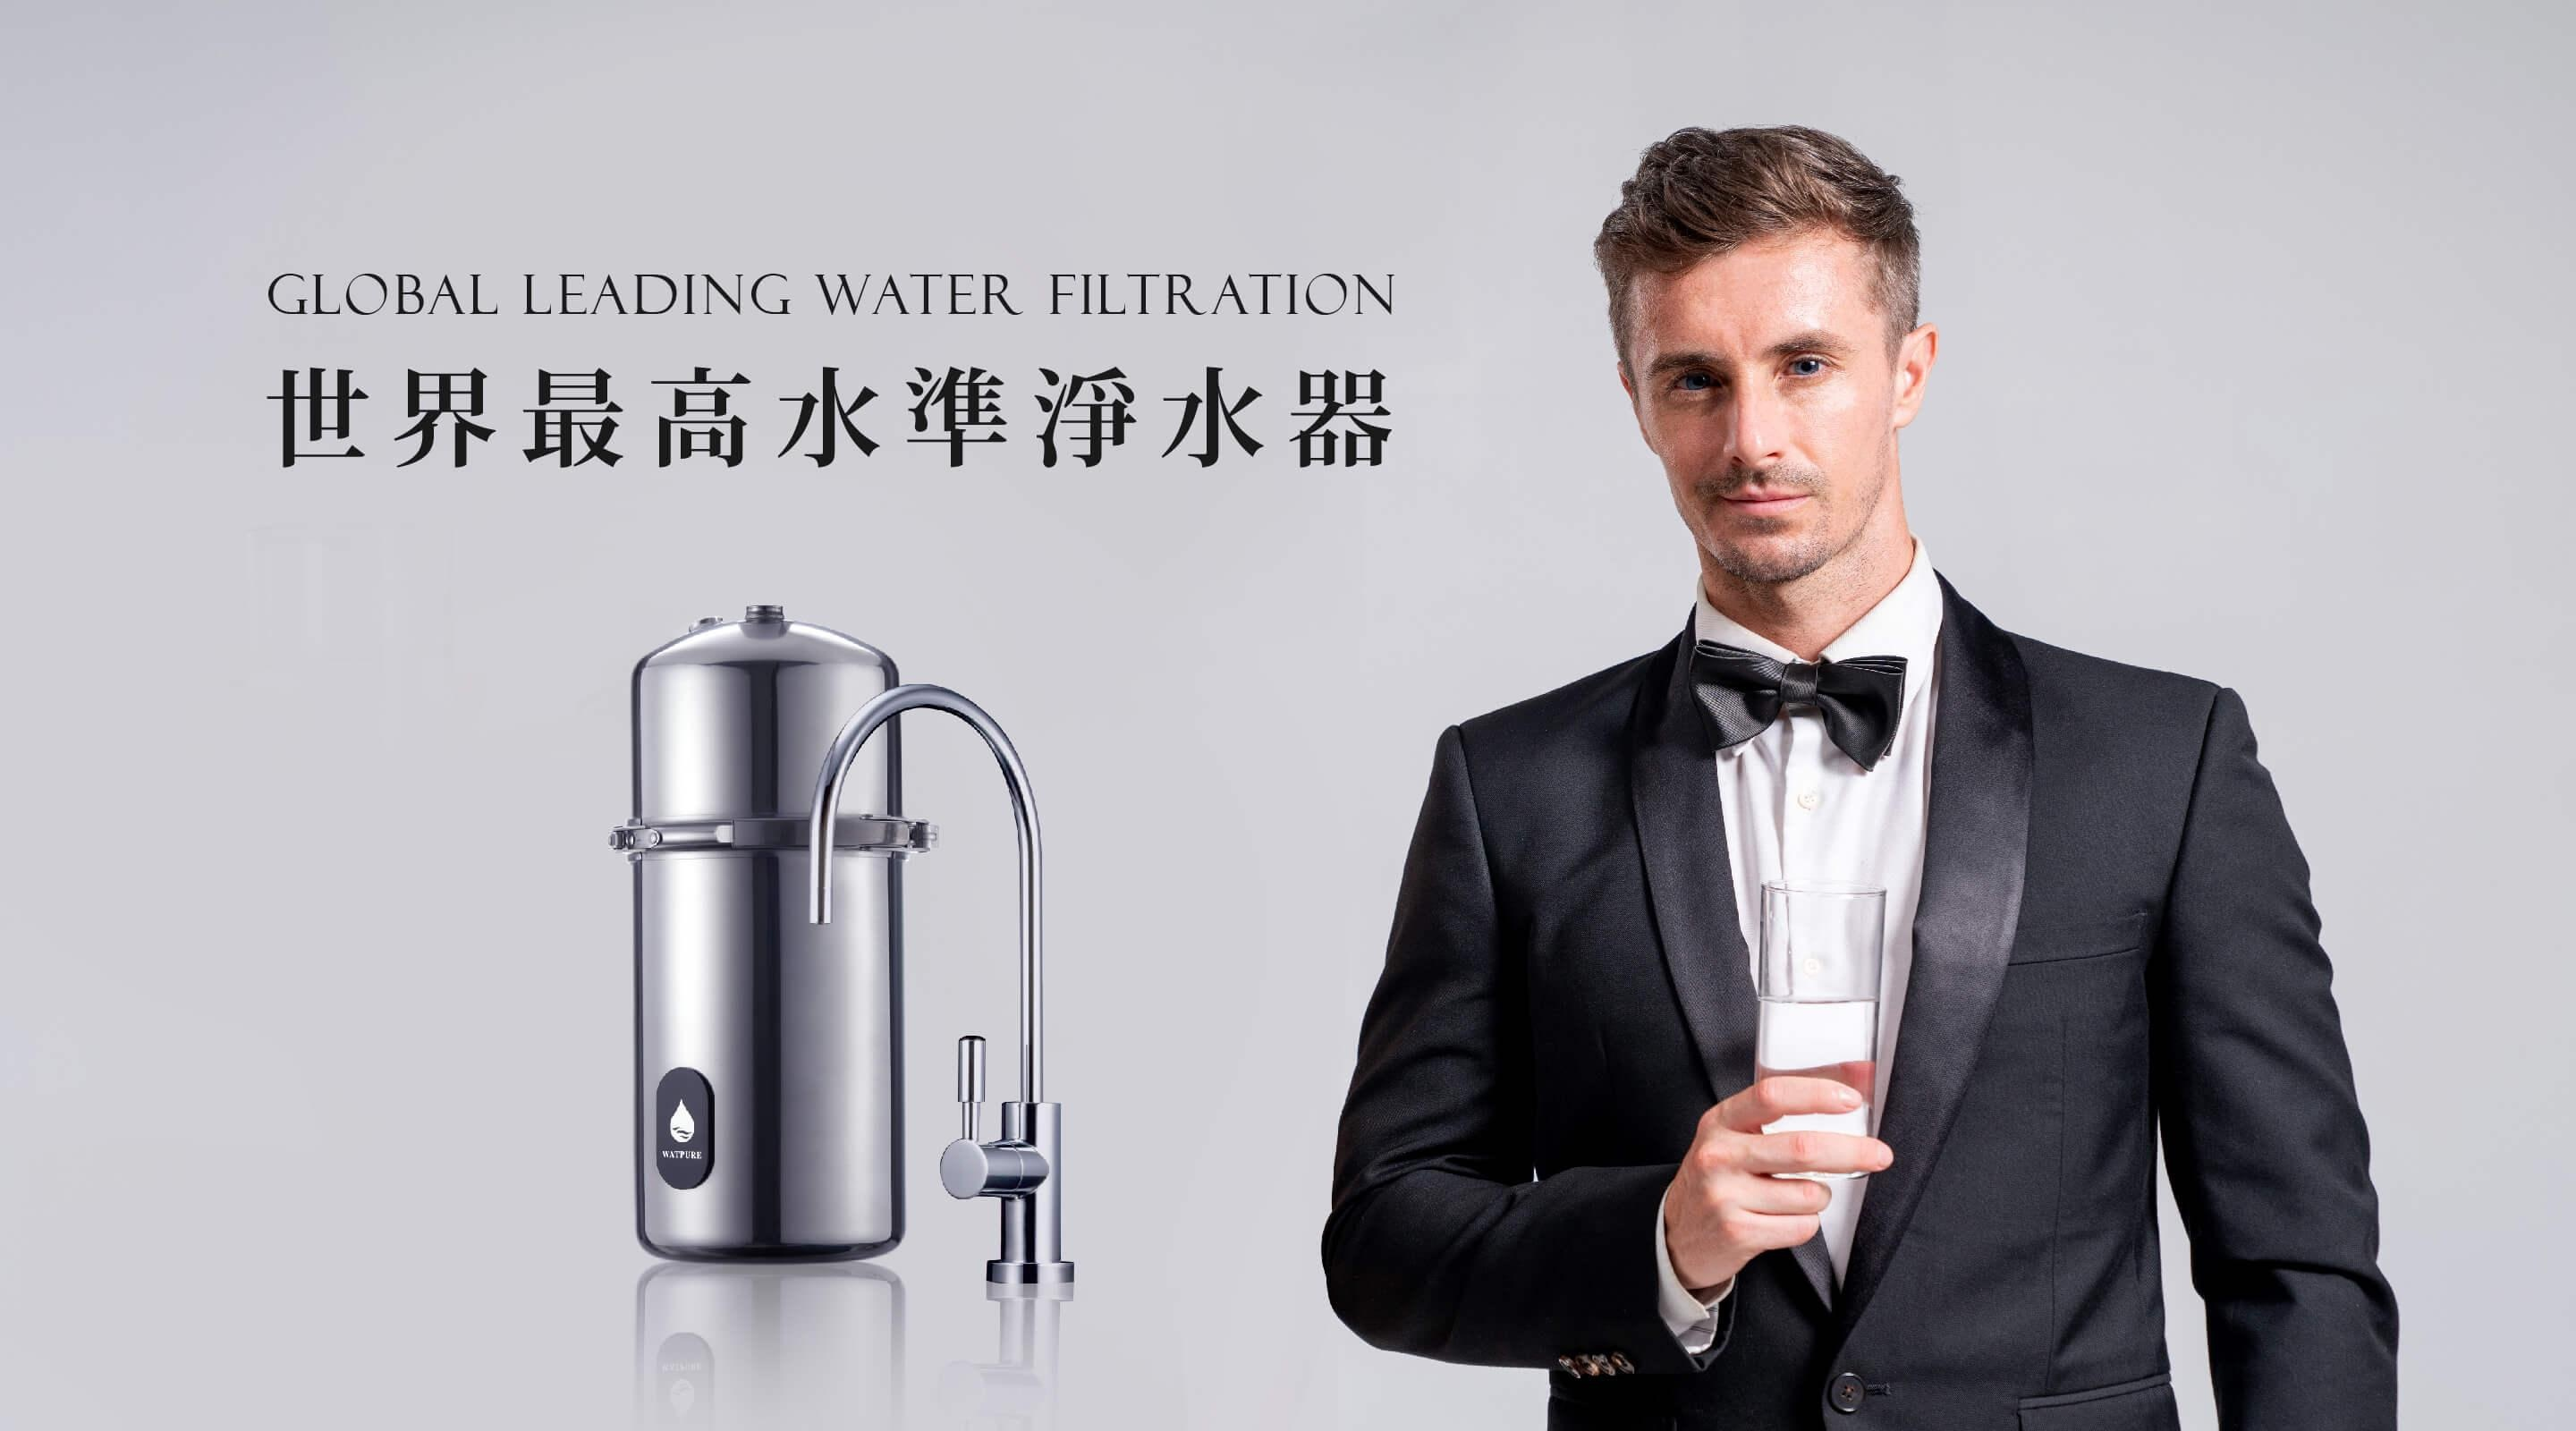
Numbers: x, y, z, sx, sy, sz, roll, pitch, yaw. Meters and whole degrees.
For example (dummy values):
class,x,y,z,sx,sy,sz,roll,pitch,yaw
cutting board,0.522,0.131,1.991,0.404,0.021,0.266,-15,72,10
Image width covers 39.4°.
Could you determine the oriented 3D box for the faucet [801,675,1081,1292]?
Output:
class,x,y,z,sx,sy,sz,roll,pitch,yaw
faucet,-0.481,0.383,5.095,0.441,0.839,0.259,4,-13,-27
